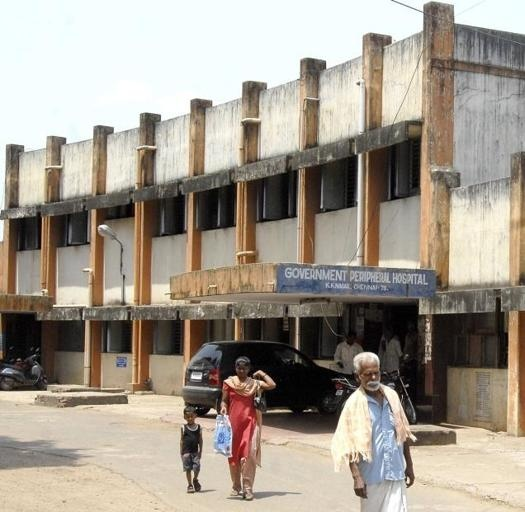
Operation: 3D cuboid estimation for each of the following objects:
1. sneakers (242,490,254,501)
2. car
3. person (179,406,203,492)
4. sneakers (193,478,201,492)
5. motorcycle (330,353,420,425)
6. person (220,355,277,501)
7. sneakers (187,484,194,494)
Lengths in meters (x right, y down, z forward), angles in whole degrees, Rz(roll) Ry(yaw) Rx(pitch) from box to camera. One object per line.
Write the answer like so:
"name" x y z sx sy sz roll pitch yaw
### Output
"sneakers" -0.182 3.156 14.697 0.145 0.115 0.190 0 -8 -6
"car" -0.100 2.483 23.839 2.700 1.769 1.735 0 -3 -28
"person" -0.959 2.621 15.144 0.263 1.133 0.644 0 -6 -5
"sneakers" -0.887 3.090 15.057 0.093 0.154 0.300 0 -12 -14
"motorcycle" 2.266 2.617 21.741 1.825 1.769 1.198 -1 -2 -9
"person" -0.277 2.321 15.247 0.682 1.902 0.947 -2 -6 14
"sneakers" -0.951 3.107 14.950 0.103 0.110 0.151 -1 -7 -3
